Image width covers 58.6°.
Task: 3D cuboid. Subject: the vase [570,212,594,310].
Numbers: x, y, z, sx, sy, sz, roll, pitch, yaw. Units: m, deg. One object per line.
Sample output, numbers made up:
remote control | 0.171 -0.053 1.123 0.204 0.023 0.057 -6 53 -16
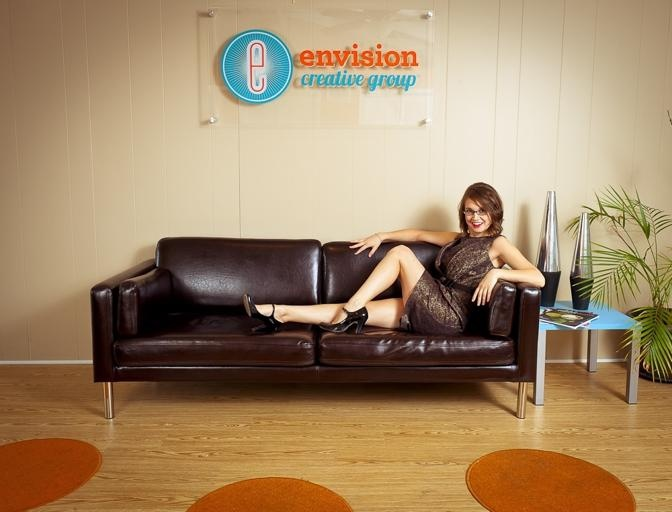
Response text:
vase | 1.730 0.037 4.195 0.145 0.663 0.249 3 11 21

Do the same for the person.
person | 0.364 0.041 3.987 1.968 0.891 0.714 -2 10 2

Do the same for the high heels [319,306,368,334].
high heels | 0.080 0.411 3.755 0.377 0.175 0.117 2 -3 0

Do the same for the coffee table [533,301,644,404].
coffee table | 1.668 0.572 4.128 0.806 0.512 0.714 0 2 6

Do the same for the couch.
couch | -0.210 0.411 3.944 2.486 0.997 0.823 -1 10 -1
